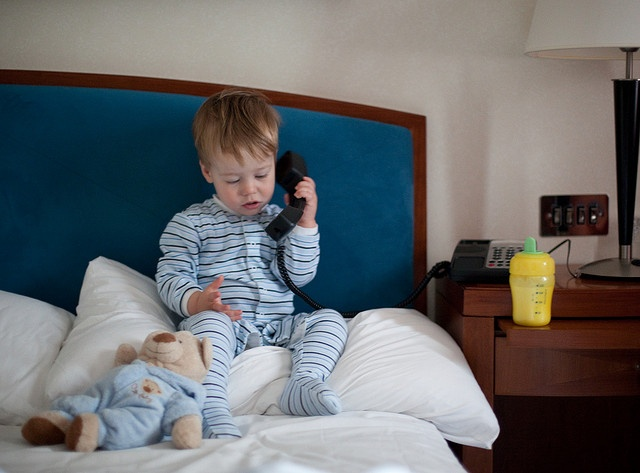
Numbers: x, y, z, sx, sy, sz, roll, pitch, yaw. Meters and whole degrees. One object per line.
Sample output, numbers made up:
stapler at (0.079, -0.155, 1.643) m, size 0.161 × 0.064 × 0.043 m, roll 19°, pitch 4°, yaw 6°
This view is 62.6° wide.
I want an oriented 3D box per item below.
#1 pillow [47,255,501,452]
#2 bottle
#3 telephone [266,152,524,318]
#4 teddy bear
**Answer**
pillow at (-0.155, 0.338, 1.503) m, size 0.911 × 0.280 × 0.617 m, roll 0°, pitch 5°, yaw 0°
bottle at (0.596, 0.146, 1.477) m, size 0.112 × 0.202 × 0.068 m, roll -1°, pitch 4°, yaw 13°
telephone at (0.257, 0.000, 1.745) m, size 0.757 × 0.307 × 0.541 m, roll -2°, pitch 21°, yaw 9°
teddy bear at (-0.433, 0.369, 1.280) m, size 0.379 × 0.225 × 0.441 m, roll 8°, pitch -2°, yaw 4°
